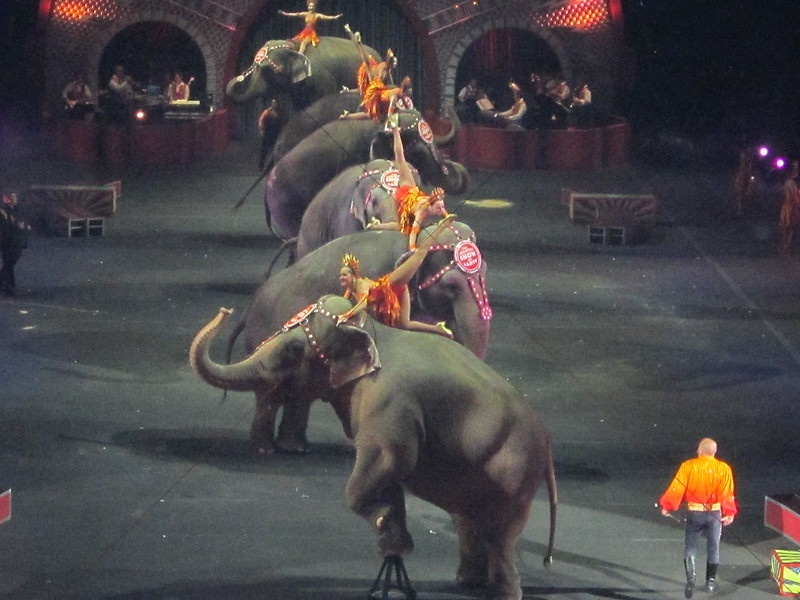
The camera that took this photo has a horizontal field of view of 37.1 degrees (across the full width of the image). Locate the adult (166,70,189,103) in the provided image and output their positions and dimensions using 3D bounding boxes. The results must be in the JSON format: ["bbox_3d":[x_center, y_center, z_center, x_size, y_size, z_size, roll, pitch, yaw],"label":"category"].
[{"bbox_3d":[-3.604,-3.469,19.288,0.353,0.456,0.726,0,9,-11],"label":"adult"}]

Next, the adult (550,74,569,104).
[{"bbox_3d":[2.627,-3.445,19.458,0.324,0.449,0.856,3,9,7],"label":"adult"}]

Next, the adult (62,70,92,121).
[{"bbox_3d":[-5.036,-3.190,18.622,0.473,0.668,0.570,-1,9,-16],"label":"adult"}]

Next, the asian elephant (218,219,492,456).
[{"bbox_3d":[-0.134,0.159,8.969,2.632,1.951,1.201,-2,20,-1],"label":"asian elephant"}]

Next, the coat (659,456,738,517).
[{"bbox_3d":[2.080,1.292,8.234,0.568,0.427,0.187,6,-5,-6],"label":"coat"}]

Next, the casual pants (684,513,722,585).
[{"bbox_3d":[2.091,1.662,8.195,0.240,0.448,0.319,4,9,14],"label":"casual pants"}]

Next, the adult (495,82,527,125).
[{"bbox_3d":[1.824,-3.219,19.410,0.503,0.737,1.113,2,9,4],"label":"adult"}]

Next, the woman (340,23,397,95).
[{"bbox_3d":[-0.327,-2.439,11.340,0.697,0.330,0.170,34,55,19],"label":"woman"}]

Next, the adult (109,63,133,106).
[{"bbox_3d":[-4.430,-3.449,18.956,0.365,0.613,1.038,0,9,-12],"label":"adult"}]

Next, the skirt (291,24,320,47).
[{"bbox_3d":[-0.955,-2.804,12.553,0.204,0.104,0.273,13,13,13],"label":"skirt"}]
